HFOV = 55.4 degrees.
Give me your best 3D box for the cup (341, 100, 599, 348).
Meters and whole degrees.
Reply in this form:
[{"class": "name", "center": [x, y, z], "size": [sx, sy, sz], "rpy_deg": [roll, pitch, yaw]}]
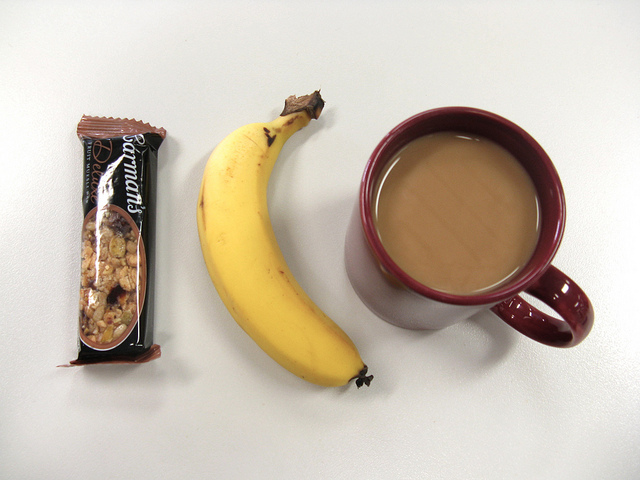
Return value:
[{"class": "cup", "center": [0.264, 0.015, 1.081], "size": [0.322, 0.431, 0.319], "rpy_deg": [-54, -14, -20]}]
